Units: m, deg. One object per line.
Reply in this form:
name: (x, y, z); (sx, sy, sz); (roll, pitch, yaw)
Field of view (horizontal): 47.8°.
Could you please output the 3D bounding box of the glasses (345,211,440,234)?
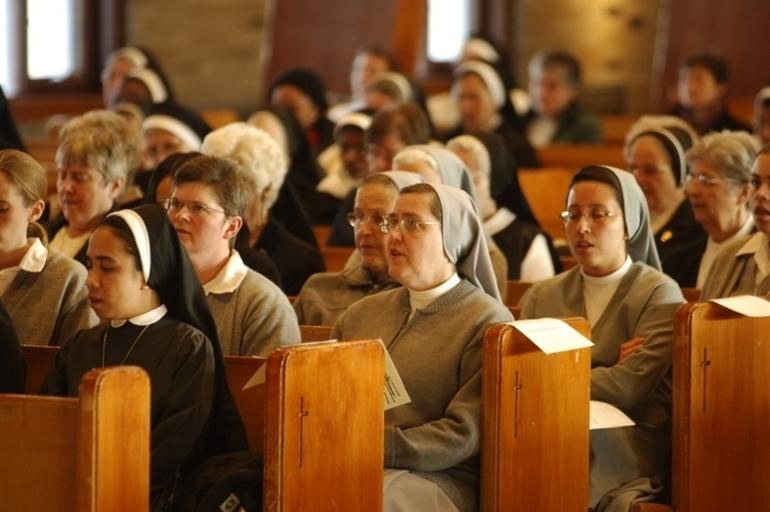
glasses: (0.073, -0.173, 4.298); (0.067, 0.131, 0.566); (-11, 7, -40)
